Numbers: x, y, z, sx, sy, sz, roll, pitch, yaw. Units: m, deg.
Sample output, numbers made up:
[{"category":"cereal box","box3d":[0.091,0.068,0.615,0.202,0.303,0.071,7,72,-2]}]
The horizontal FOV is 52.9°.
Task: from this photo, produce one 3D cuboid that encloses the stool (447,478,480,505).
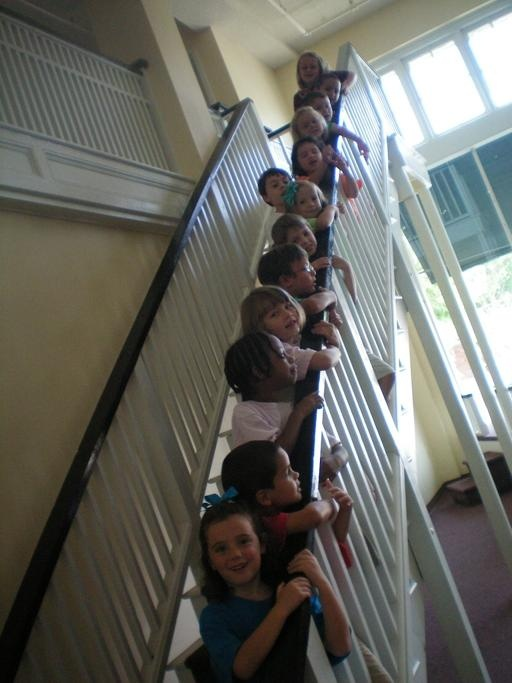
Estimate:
[{"category":"stool","box3d":[2.829,2.065,7.134,0.449,0.310,0.468,5,5,33]}]
